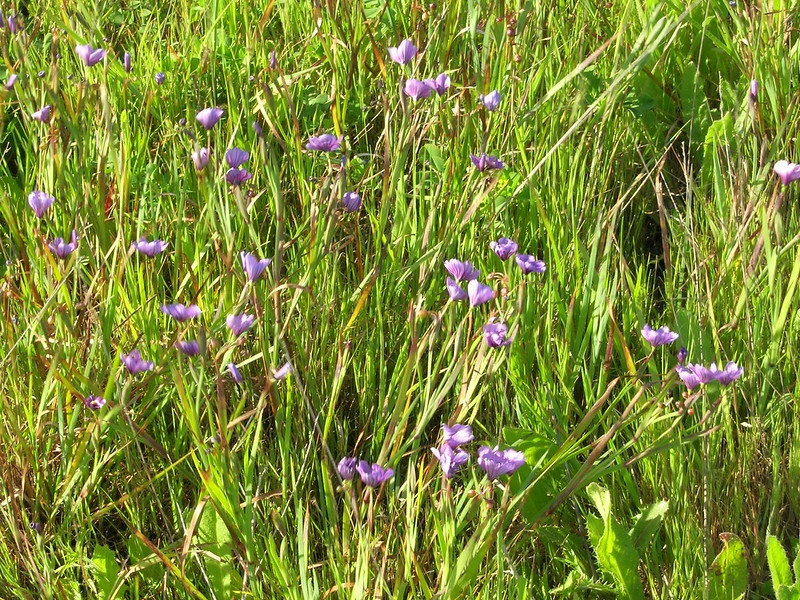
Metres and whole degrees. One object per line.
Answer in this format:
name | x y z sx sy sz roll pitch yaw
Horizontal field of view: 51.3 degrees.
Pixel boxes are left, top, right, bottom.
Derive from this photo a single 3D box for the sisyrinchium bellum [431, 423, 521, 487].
sisyrinchium bellum | 0.138 0.255 1.440 0.113 0.058 0.113 38 21 26
